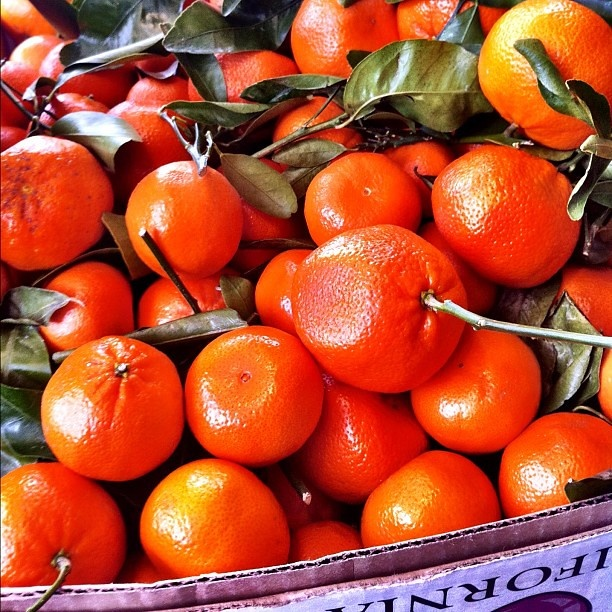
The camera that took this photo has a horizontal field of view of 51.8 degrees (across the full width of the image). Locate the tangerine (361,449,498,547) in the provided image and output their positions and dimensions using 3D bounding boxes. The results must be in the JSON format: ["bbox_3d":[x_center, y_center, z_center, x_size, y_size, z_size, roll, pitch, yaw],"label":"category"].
[{"bbox_3d":[0.114,0.162,0.555,0.071,0.070,0.075,-1,38,21],"label":"tangerine"}]

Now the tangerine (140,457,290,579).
[{"bbox_3d":[-0.070,0.172,0.502,0.111,0.096,0.090,-3,64,-1],"label":"tangerine"}]

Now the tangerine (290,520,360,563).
[{"bbox_3d":[0.014,0.202,0.569,0.040,0.041,0.047,32,119,49],"label":"tangerine"}]
